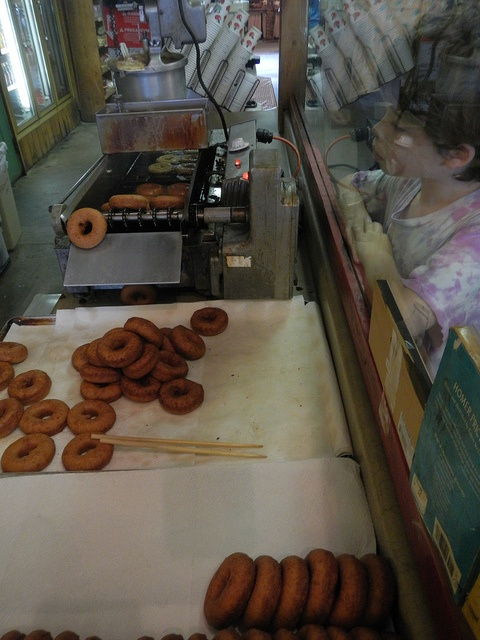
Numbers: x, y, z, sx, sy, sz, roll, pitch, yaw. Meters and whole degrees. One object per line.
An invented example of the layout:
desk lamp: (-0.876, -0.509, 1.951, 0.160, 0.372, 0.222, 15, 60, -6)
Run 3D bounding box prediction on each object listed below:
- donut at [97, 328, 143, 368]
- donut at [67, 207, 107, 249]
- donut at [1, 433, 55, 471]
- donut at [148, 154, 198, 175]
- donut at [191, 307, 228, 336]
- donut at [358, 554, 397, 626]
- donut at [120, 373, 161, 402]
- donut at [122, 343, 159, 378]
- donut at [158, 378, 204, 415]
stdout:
donut: (-0.463, 0.119, 1.593, 0.170, 0.122, 0.164, -14, 33, -14)
donut: (-0.683, -0.422, 1.860, 0.153, 0.170, 0.159, 15, 36, 28)
donut: (-0.710, 0.454, 1.365, 0.165, 0.055, 0.152, 0, 34, 8)
donut: (-0.436, -1.011, 2.631, 0.294, 0.061, 0.391, -4, 34, 2)
donut: (-0.140, 0.007, 1.867, 0.165, 0.076, 0.143, -15, 34, -15)
donut: (0.302, 0.597, 0.904, 0.032, 0.117, 0.107, 3, 4, 6)
donut: (-0.383, 0.264, 1.581, 0.155, 0.081, 0.102, -9, 32, -7)
donut: (-0.378, 0.169, 1.579, 0.111, 0.041, 0.123, -36, 36, 7)
donut: (-0.219, 0.287, 1.536, 0.155, 0.080, 0.117, -13, 33, -12)
